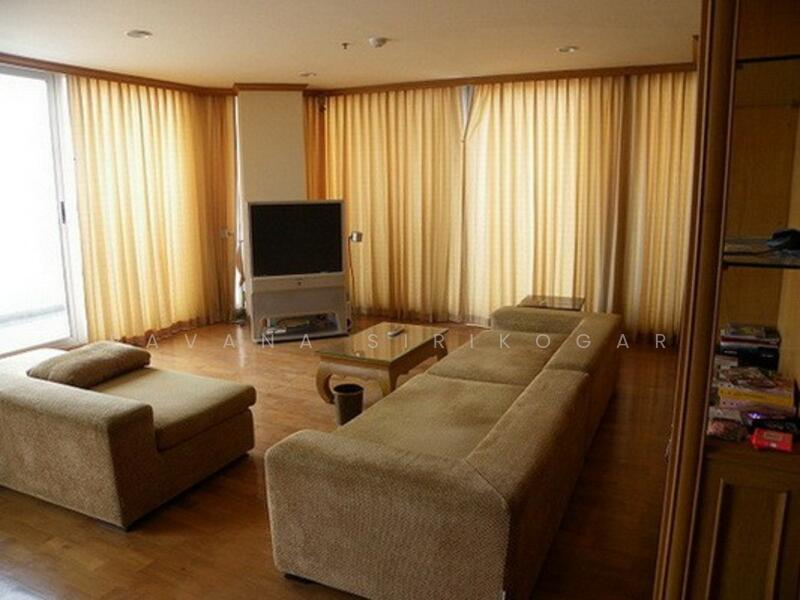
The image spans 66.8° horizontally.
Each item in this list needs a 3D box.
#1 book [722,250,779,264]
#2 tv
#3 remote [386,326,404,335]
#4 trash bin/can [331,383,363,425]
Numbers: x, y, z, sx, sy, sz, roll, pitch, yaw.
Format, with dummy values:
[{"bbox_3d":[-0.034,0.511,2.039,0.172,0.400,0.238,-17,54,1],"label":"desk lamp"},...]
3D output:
[{"bbox_3d":[0.906,-0.109,1.564,0.124,0.020,0.168,5,13,31],"label":"book"},{"bbox_3d":[-1.032,-0.539,5.977,0.915,0.700,0.120,-5,15,-13],"label":"tv"},{"bbox_3d":[-0.038,0.242,4.717,0.055,0.023,0.099,6,14,24],"label":"remote"},{"bbox_3d":[-0.374,0.689,4.025,0.255,0.246,0.231,-2,6,-24],"label":"trash bin/can"}]
